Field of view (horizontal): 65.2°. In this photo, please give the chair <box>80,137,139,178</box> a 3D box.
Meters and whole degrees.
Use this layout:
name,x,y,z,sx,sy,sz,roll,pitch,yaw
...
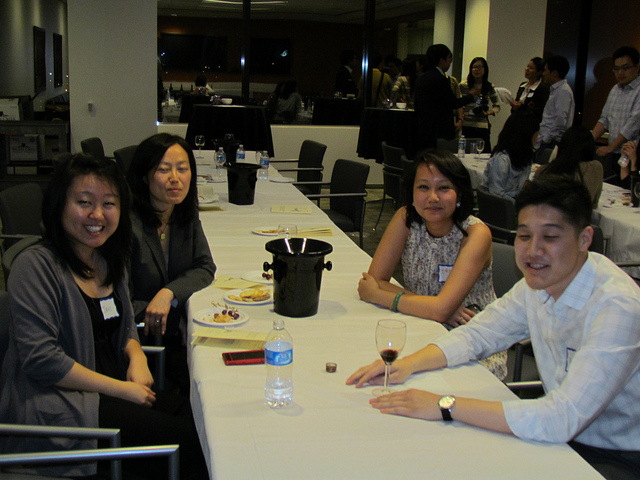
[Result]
name,x,y,z,sx,sy,sz,roll,pitch,yaw
chair,-1.798,-0.772,4.651,0.366,0.255,0.227,-19,58,-14

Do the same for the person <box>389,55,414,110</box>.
name,x,y,z,sx,sy,sz,roll,pitch,yaw
person,1.422,-2.788,8.782,0.436,0.907,1.543,3,14,7

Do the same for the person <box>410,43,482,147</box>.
name,x,y,z,sx,sy,sz,roll,pitch,yaw
person,1.559,-1.927,6.761,0.548,1.318,0.271,5,14,16

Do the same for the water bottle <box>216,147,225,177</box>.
name,x,y,z,sx,sy,sz,roll,pitch,yaw
water bottle,-0.904,-0.713,4.608,0.070,0.243,0.284,-2,14,-11

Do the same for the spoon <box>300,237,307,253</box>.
name,x,y,z,sx,sy,sz,roll,pitch,yaw
spoon,-0.055,0.021,1.964,0.039,0.048,0.041,5,-1,8

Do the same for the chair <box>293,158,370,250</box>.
name,x,y,z,sx,sy,sz,roll,pitch,yaw
chair,0.026,-0.270,4.434,0.670,0.839,0.647,-2,15,-19

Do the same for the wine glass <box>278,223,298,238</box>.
name,x,y,z,sx,sy,sz,roll,pitch,yaw
wine glass,-0.174,-0.064,2.819,0.087,0.067,0.091,-3,14,-9

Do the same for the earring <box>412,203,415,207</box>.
name,x,y,z,sx,sy,sz,roll,pitch,yaw
earring,0.418,-0.158,2.236,0.016,0.017,0.017,1,2,1

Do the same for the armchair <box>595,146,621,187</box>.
name,x,y,z,sx,sy,sz,roll,pitch,yaw
armchair,3.414,-0.852,5.949,0.305,0.466,1.132,9,16,30

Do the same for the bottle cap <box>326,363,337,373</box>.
name,x,y,z,sx,sy,sz,roll,pitch,yaw
bottle cap,0.038,0.397,1.570,0.033,0.019,0.046,2,14,2

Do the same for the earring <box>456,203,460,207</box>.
name,x,y,z,sx,sy,sz,roll,pitch,yaw
earring,0.603,-0.154,2.194,0.014,0.003,0.013,-2,17,-3

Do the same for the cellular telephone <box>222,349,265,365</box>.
name,x,y,z,sx,sy,sz,roll,pitch,yaw
cellular telephone,-0.246,0.378,1.624,0.132,0.018,0.075,0,15,-7

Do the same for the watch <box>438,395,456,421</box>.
name,x,y,z,sx,sy,sz,roll,pitch,yaw
watch,0.336,0.442,1.337,0.045,0.059,0.059,0,17,9

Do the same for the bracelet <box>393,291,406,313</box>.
name,x,y,z,sx,sy,sz,roll,pitch,yaw
bracelet,0.332,0.253,2.060,0.026,0.072,0.052,10,-10,14
